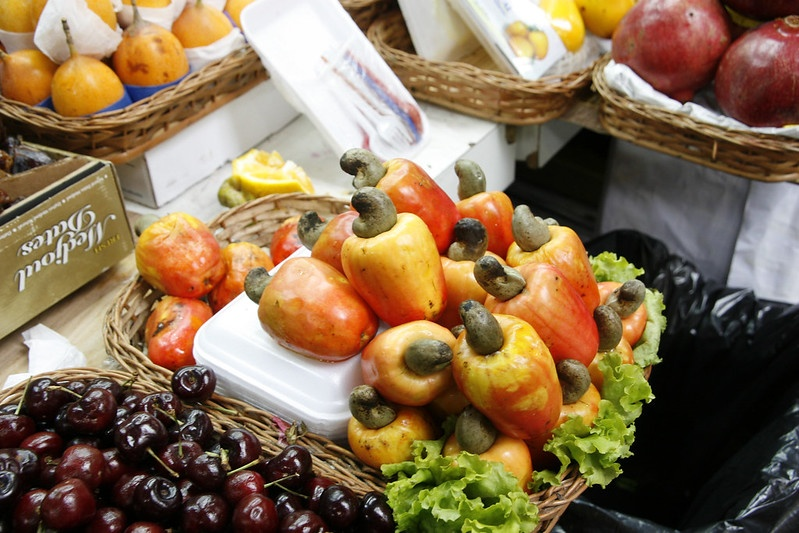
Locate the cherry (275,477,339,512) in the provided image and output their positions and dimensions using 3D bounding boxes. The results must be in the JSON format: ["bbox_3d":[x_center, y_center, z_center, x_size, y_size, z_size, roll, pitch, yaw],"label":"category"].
[{"bbox_3d":[-0.175,0.432,1.194,0.108,0.078,0.067,-1,35,8],"label":"cherry"}]

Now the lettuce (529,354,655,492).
[{"bbox_3d":[0.382,0.327,1.334,0.258,0.119,0.254,-10,56,-15],"label":"lettuce"}]

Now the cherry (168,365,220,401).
[{"bbox_3d":[-0.433,0.242,1.297,0.074,0.076,0.077,0,84,-2],"label":"cherry"}]

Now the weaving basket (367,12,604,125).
[{"bbox_3d":[0.251,-0.620,2.118,0.565,0.139,0.439,22,31,-3],"label":"weaving basket"}]

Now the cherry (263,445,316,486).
[{"bbox_3d":[-0.211,0.382,1.183,0.084,0.054,0.064,-16,48,-18],"label":"cherry"}]

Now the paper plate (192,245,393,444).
[{"bbox_3d":[-0.233,0.225,1.395,0.383,0.183,0.403,23,51,16],"label":"paper plate"}]

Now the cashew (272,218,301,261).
[{"bbox_3d":[-0.280,-0.072,1.630,0.094,0.121,0.069,15,61,-5],"label":"cashew"}]
